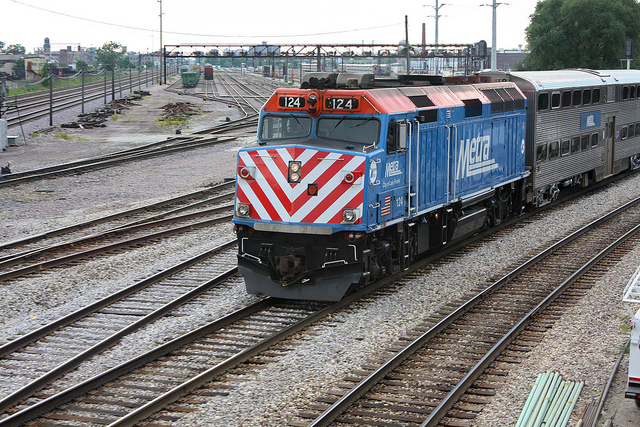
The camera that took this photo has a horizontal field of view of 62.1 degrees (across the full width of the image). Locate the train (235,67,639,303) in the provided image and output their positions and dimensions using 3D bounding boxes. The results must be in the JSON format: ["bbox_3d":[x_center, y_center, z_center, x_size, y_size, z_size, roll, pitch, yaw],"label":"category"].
[{"bbox_3d":[6.469,-3.003,22.740,5.605,6.088,27.988,9,15,38],"label":"train"}]

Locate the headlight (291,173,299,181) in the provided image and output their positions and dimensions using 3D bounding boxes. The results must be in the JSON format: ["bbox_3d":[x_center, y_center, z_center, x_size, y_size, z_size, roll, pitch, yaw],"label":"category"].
[{"bbox_3d":[-0.554,-0.807,11.720,0.172,0.164,0.049,4,17,21],"label":"headlight"}]

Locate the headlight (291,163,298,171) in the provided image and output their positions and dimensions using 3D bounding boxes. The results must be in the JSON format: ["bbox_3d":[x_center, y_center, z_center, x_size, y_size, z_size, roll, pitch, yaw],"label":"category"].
[{"bbox_3d":[-0.565,-1.027,11.718,0.143,0.164,0.049,5,17,26],"label":"headlight"}]

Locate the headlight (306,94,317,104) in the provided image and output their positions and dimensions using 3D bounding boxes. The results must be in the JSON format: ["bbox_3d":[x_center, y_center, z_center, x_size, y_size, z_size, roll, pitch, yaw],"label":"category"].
[{"bbox_3d":[-0.169,-2.634,12.156,0.236,0.183,0.049,4,-28,17],"label":"headlight"}]

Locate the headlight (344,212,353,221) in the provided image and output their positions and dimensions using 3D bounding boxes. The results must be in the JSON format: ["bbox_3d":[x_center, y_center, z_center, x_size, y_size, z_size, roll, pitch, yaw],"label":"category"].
[{"bbox_3d":[0.612,0.069,11.519,0.181,0.176,0.051,2,16,12],"label":"headlight"}]

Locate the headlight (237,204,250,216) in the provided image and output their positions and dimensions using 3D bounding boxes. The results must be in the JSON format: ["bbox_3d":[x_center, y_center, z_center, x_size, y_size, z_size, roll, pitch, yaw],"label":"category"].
[{"bbox_3d":[-1.761,-0.075,12.179,0.245,0.251,0.109,3,5,19],"label":"headlight"}]
